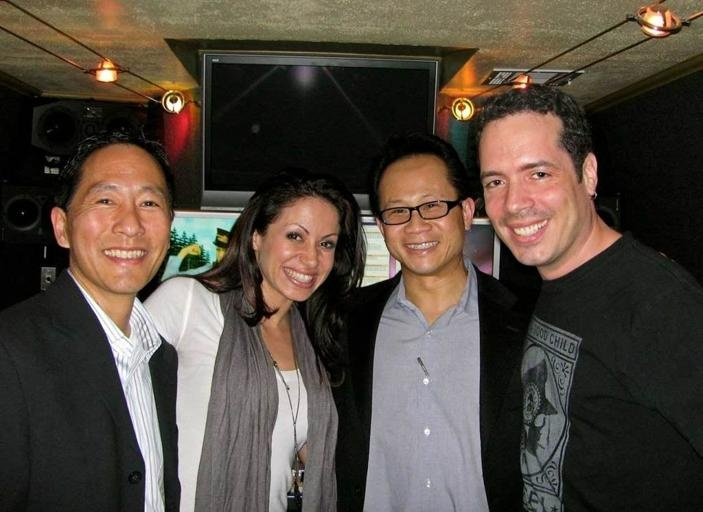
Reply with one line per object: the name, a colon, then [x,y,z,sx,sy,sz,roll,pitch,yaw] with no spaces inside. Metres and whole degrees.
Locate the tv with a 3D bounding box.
tv: [-0.255,-0.895,3.869,1.621,0.951,0.156,1,7,0]

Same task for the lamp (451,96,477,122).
lamp: [0.995,-1.325,5.175,0.272,0.230,0.248,3,12,19]

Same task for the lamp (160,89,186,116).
lamp: [-1.542,-1.337,4.971,0.252,0.210,0.076,-2,5,4]
